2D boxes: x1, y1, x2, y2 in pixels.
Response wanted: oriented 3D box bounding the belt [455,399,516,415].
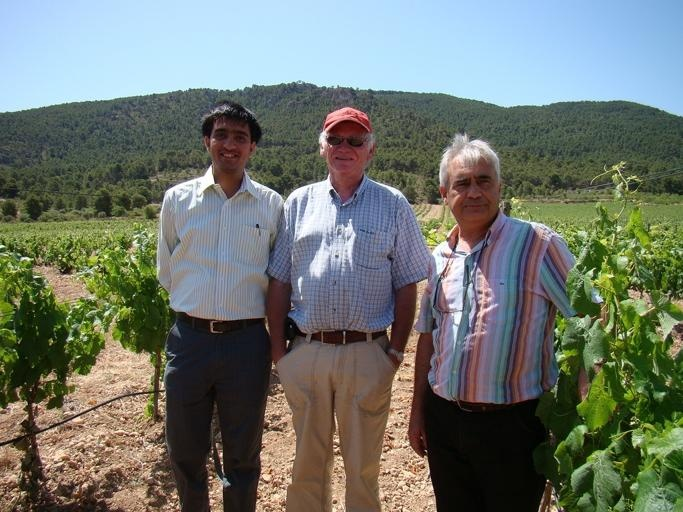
[{"bbox_3d":[0.818,0.863,2.862,0.321,0.072,0.048,2,6,15],"label":"belt"}]
